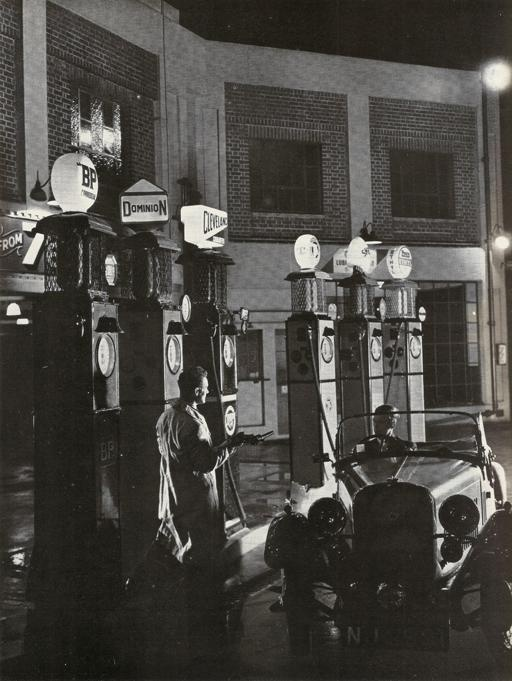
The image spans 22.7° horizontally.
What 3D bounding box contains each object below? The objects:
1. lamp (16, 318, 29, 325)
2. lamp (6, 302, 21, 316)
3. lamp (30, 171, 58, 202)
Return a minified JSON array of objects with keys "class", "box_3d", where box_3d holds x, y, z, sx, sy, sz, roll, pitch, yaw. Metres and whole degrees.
[{"class":"lamp","box_3d":[-3.361,-0.281,18.348,0.112,0.074,0.122,-2,-1,31]},{"class":"lamp","box_3d":[-3.391,-0.430,17.776,0.154,0.187,0.176,-2,3,1]},{"class":"lamp","box_3d":[-2.719,-1.923,16.075,0.296,0.358,0.811,-2,5,-9]}]
